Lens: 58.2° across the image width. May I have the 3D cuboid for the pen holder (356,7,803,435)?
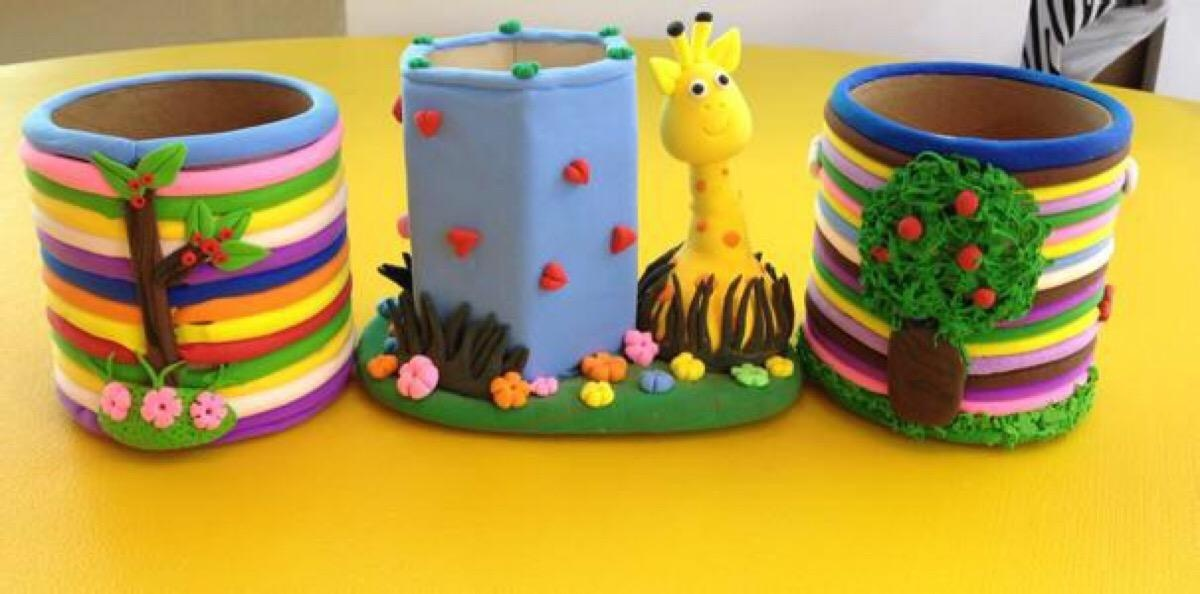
[{"bbox_3d":[-0.052,-0.128,1.987,0.833,0.687,0.480,0,31,8],"label":"pen holder"}]

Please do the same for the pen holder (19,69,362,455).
[{"bbox_3d":[-0.730,-0.076,1.984,0.541,0.587,0.496,-3,30,4],"label":"pen holder"}]

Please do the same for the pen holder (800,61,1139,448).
[{"bbox_3d":[0.583,-0.069,2.182,0.810,0.674,0.739,0,30,-1],"label":"pen holder"}]
